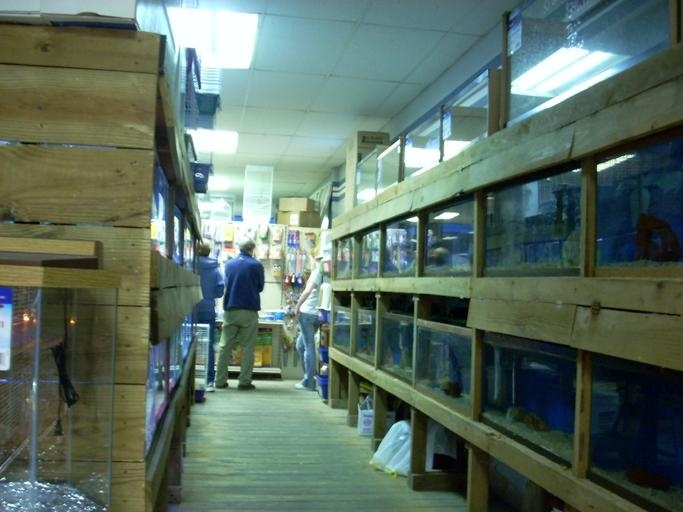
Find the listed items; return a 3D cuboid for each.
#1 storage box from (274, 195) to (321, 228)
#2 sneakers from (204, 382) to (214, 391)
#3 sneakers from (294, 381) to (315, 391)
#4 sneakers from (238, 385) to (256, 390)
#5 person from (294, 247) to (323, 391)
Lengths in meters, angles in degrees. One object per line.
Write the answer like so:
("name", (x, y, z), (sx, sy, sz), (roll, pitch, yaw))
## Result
("storage box", (-0.651, -0.646, 9.564), (0.505, 0.331, 0.507), (2, 1, -32))
("sneakers", (-1.544, 1.542, 7.454), (0.110, 0.134, 0.115), (1, -7, -6))
("sneakers", (-0.461, 1.636, 7.879), (0.250, 0.106, 0.097), (16, -12, 8))
("sneakers", (-1.127, 1.553, 7.546), (0.183, 0.082, 0.074), (0, 0, -24))
("person", (-0.415, 0.844, 7.898), (0.297, 1.629, 0.418), (3, 0, 0))
